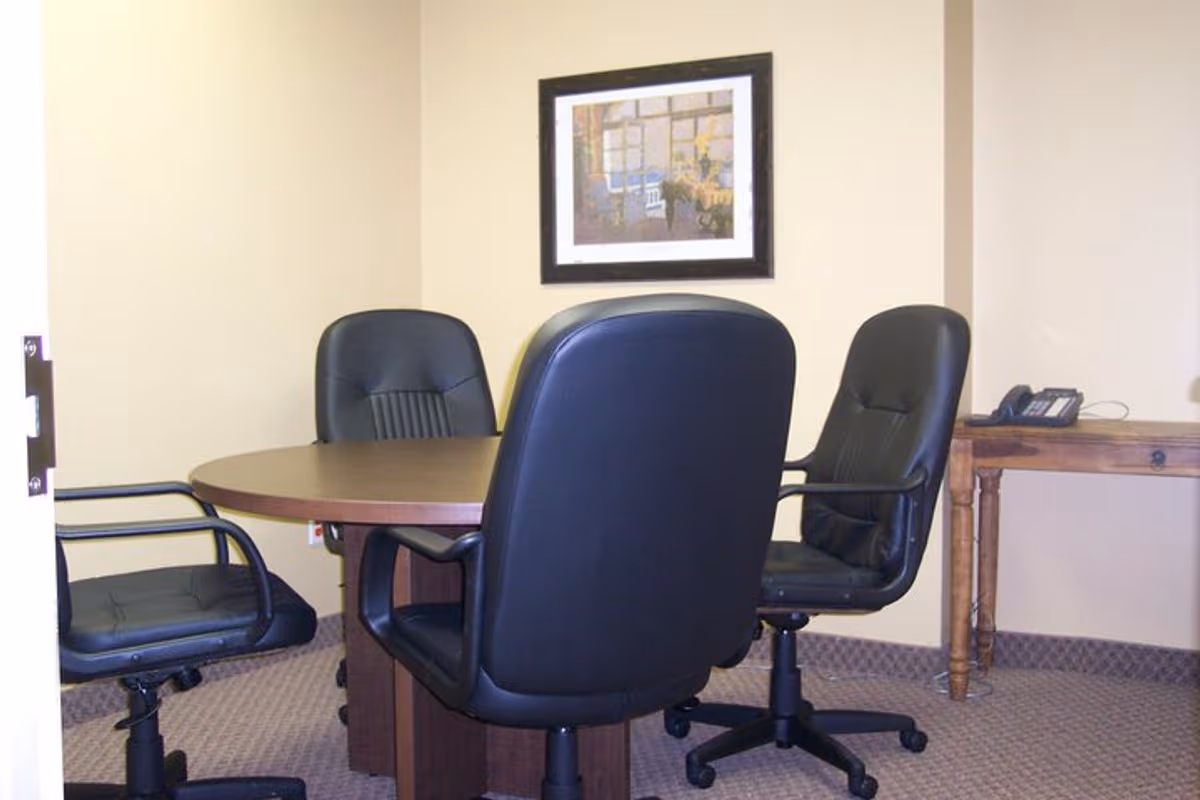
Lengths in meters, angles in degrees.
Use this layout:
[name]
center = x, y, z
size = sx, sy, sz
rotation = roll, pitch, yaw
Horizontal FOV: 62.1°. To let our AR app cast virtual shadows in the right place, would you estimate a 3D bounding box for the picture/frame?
[picture/frame]
center = 0.285, -1.006, 4.284
size = 1.061, 0.892, 0.050
rotation = 0, 4, 22
